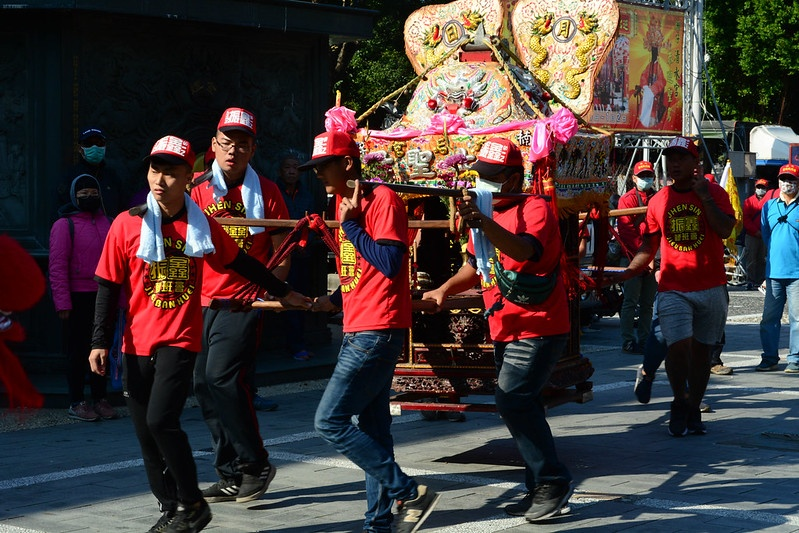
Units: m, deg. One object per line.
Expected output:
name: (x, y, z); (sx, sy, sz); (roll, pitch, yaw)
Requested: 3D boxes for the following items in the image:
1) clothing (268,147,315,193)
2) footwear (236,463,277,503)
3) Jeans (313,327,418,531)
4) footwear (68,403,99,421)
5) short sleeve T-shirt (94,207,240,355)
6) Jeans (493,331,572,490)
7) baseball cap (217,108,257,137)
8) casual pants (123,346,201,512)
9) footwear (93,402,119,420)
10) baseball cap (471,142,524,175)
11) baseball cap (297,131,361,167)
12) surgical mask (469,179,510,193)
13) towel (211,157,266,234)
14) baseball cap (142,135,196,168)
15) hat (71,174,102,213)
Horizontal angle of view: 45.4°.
clothing: (-1.451, -1.352, 12.360); (0.485, 0.466, 0.581); (-5, 18, -12)
footwear: (-1.113, 1.698, 7.458); (0.305, 0.282, 0.158); (-5, 6, -32)
Jeans: (-0.240, 1.137, 6.737); (0.687, 1.405, 0.531); (-3, 6, -4)
footwear: (-3.260, 1.519, 9.983); (0.375, 0.138, 0.147); (3, 5, 27)
short sleeve T-shirt: (-1.710, 0.063, 6.845); (1.221, 1.001, 0.419); (-1, 8, -41)
Jeans: (0.994, 1.072, 7.123); (0.523, 1.113, 0.229); (-2, 6, 6)
baseball cap: (-1.309, -1.171, 7.711); (0.281, 0.232, 0.320); (-2, 5, -1)
casual pants: (-1.641, 1.144, 6.695); (0.484, 1.183, 0.261); (-4, 6, -13)
footwear: (-3.065, 1.515, 10.033); (0.299, 0.099, 0.129); (7, 8, 40)
baseball cap: (0.737, -0.823, 7.139); (0.364, 0.282, 0.191); (-1, 6, 3)
baseball cap: (-0.473, -0.837, 6.828); (0.500, 0.202, 0.281); (-9, -4, -6)
surgical mask: (0.657, -0.600, 7.102); (0.148, 0.075, 0.154); (9, 8, 36)
towel: (-1.259, -0.555, 7.808); (0.499, 0.555, 0.165); (2, -1, 1)
baseball cap: (-1.615, -0.817, 6.764); (0.323, 0.212, 0.249); (-4, 6, -22)
hat: (-3.265, -0.754, 9.958); (0.335, 0.373, 0.423); (-5, 13, -26)
